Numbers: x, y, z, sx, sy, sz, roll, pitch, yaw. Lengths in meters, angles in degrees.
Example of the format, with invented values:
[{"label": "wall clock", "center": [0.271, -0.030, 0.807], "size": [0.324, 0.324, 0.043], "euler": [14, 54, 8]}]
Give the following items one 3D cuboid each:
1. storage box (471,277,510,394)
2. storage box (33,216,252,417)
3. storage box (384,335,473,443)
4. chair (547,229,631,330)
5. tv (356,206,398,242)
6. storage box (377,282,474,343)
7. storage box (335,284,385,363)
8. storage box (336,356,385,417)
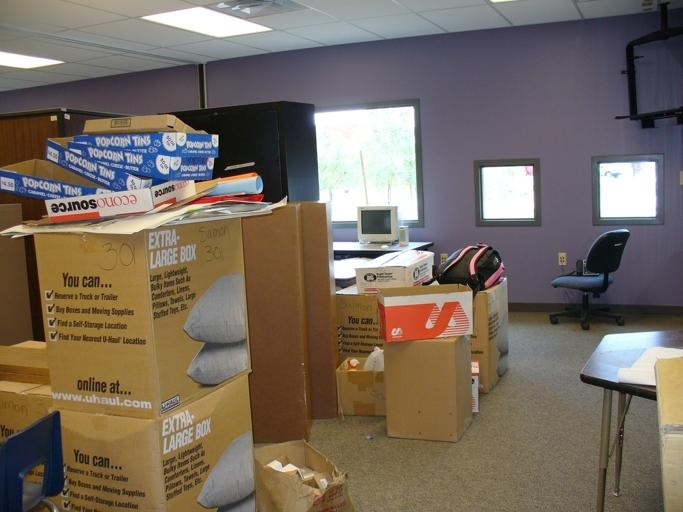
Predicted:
[{"label": "storage box", "center": [1.082, 0.596, 4.279], "size": [0.375, 0.800, 0.737], "euler": [1, 4, 19]}, {"label": "storage box", "center": [-0.690, 0.227, 2.406], "size": [0.583, 0.895, 0.851], "euler": [1, 6, 23]}, {"label": "storage box", "center": [0.563, 0.820, 3.843], "size": [0.550, 0.677, 0.594], "euler": [-1, 0, 12]}, {"label": "chair", "center": [2.466, 0.201, 5.827], "size": [0.676, 0.998, 0.699], "euler": [2, 12, 21]}, {"label": "tv", "center": [0.397, -0.342, 6.488], "size": [0.374, 0.375, 0.403], "euler": [-2, -4, 16]}, {"label": "storage box", "center": [0.523, 0.358, 3.599], "size": [0.592, 0.326, 0.193], "euler": [-2, 11, 2]}, {"label": "storage box", "center": [0.136, 0.493, 4.174], "size": [0.432, 0.633, 0.314], "euler": [2, 13, 19]}, {"label": "storage box", "center": [0.137, 0.922, 4.037], "size": [0.308, 0.267, 0.340], "euler": [0, 6, 13]}]
